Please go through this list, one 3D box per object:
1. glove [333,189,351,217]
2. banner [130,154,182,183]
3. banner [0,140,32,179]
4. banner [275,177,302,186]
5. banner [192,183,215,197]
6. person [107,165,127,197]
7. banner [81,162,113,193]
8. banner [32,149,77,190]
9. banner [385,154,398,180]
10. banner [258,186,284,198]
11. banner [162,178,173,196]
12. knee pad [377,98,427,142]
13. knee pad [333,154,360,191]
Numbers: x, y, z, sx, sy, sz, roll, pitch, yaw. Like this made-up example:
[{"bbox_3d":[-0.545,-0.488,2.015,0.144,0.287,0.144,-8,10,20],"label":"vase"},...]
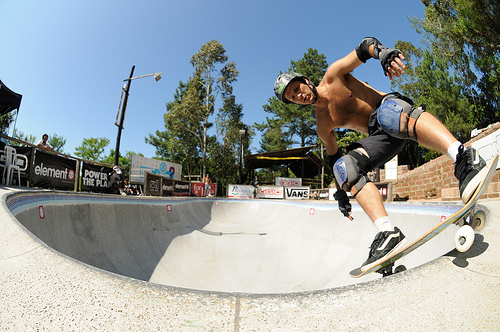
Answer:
[{"bbox_3d":[0.981,0.395,3.211,0.150,0.293,0.106,-23,-14,7],"label":"glove"},{"bbox_3d":[-6.994,0.391,23.188,0.057,1.794,5.290,6,0,28],"label":"banner"},{"bbox_3d":[-5.318,-0.093,6.672,0.501,0.989,0.566,3,0,12],"label":"banner"},{"bbox_3d":[2.866,1.173,21.459,2.427,0.526,0.537,2,2,-36],"label":"banner"},{"bbox_3d":[-2.864,1.495,18.588,0.384,0.914,2.446,3,2,17],"label":"banner"},{"bbox_3d":[-4.692,0.498,10.481,0.554,0.977,0.638,2,3,-28],"label":"person"},{"bbox_3d":[-4.952,0.433,9.794,1.321,0.943,0.016,5,4,16],"label":"banner"},{"bbox_3d":[-5.115,0.143,7.844,1.259,0.937,0.070,7,2,5],"label":"banner"},{"bbox_3d":[7.096,0.164,15.059,0.523,0.953,1.567,4,2,23],"label":"banner"},{"bbox_3d":[1.291,1.626,18.642,1.605,0.796,0.445,4,2,5],"label":"banner"},{"bbox_3d":[-3.818,0.996,13.739,0.095,0.493,0.764,-7,-7,11],"label":"banner"},{"bbox_3d":[1.458,-0.447,2.917,0.426,0.358,0.189,22,0,39],"label":"knee pad"},{"bbox_3d":[0.928,0.070,2.882,0.113,0.341,0.228,3,-13,-12],"label":"knee pad"}]
